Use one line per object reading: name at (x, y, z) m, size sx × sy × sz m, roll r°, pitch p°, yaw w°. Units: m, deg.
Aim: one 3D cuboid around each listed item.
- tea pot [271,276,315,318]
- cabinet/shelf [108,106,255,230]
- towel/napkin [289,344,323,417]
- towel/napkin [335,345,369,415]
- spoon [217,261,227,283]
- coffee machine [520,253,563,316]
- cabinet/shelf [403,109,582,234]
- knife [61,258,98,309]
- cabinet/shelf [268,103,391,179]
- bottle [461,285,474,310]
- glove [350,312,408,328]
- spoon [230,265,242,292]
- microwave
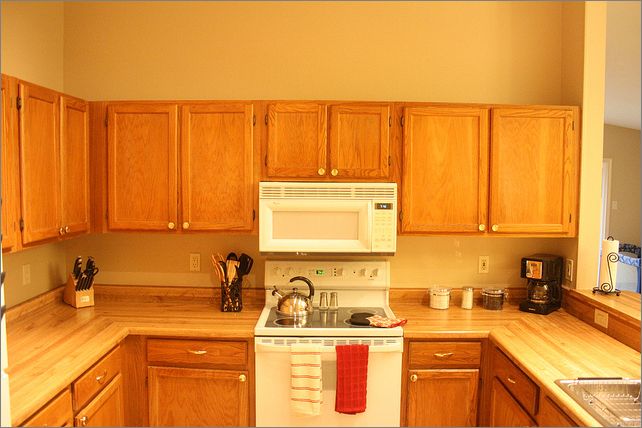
tea pot at (-0.208, 0.584, 3.781) m, size 0.317 × 0.277 × 0.274 m, roll 1°, pitch 5°, yaw -9°
cabinet/shelf at (-1.046, -0.335, 3.915) m, size 1.142 × 1.001 × 0.439 m, roll 0°, pitch -1°, yaw -1°
towel/napkin at (-0.106, 1.134, 3.440) m, size 0.204 × 0.508 × 0.114 m, roll -1°, pitch 8°, yaw -5°
towel/napkin at (0.211, 1.128, 3.468) m, size 0.222 × 0.488 × 0.090 m, roll 0°, pitch 8°, yaw 2°
spoon at (-0.753, 0.425, 3.838) m, size 0.040 × 0.166 × 0.025 m, roll -1°, pitch -3°, yaw 1°
coffee machine at (1.720, 0.522, 3.930) m, size 0.374 × 0.418 × 0.213 m, roll -5°, pitch 9°, yaw -34°
cabinet/shelf at (1.240, -0.322, 3.985) m, size 1.359 × 0.997 × 0.485 m, roll 0°, pitch 3°, yaw -4°
knife at (-1.865, 0.503, 3.893) m, size 0.289 × 0.394 × 0.170 m, roll -1°, pitch 8°, yaw -10°
cabinet/shelf at (0.050, -0.524, 3.898) m, size 0.961 × 0.587 × 0.481 m, roll 0°, pitch -2°, yaw 0°
bottle at (1.146, 0.647, 3.981) m, size 0.083 × 0.159 × 0.092 m, roll 1°, pitch 8°, yaw 6°
glove at (0.384, 0.761, 3.626) m, size 0.376 × 0.044 × 0.246 m, roll 4°, pitch 8°, yaw 30°
spoon at (-0.636, 0.485, 3.887) m, size 0.065 × 0.194 × 0.142 m, roll 3°, pitch 8°, yaw 21°
microwave at (0.062, 0.010, 3.921) m, size 0.910 × 0.475 × 0.526 m, roll 0°, pitch -3°, yaw 0°
